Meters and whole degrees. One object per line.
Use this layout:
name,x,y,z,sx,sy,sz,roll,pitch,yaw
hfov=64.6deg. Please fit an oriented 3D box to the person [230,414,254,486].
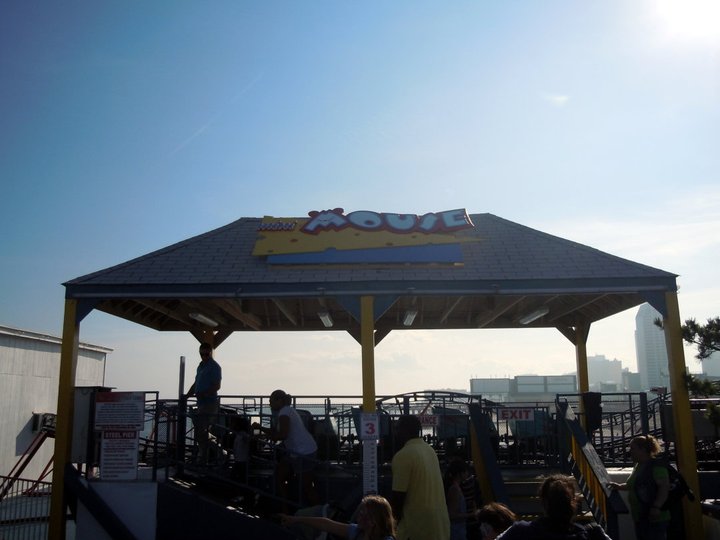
person,-2.246,3.390,10.779,0.365,1.216,0.487,1,-14,-10

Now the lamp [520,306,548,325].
lamp,4.312,1.119,14.147,0.689,0.207,2.374,-7,-14,17

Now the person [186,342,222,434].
person,-3.087,2.323,11.255,0.602,1.833,1.481,2,-14,-15

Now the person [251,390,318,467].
person,-1.189,2.672,9.694,0.841,1.211,0.862,-1,-14,-5
